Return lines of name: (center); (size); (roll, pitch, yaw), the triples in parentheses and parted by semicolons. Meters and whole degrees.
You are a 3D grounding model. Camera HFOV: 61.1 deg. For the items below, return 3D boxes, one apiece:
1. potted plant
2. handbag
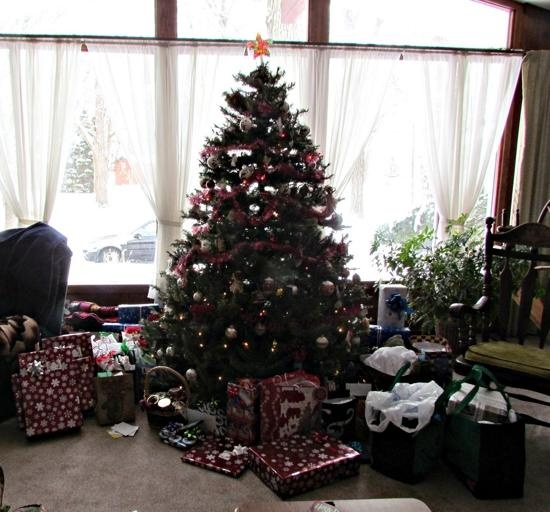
potted plant: (1.318, 0.084, 3.742); (1.011, 1.088, 1.049); (-1, -2, -7)
handbag: (0.763, 0.732, 2.217); (0.627, 0.507, 0.500); (-1, 2, 15)
